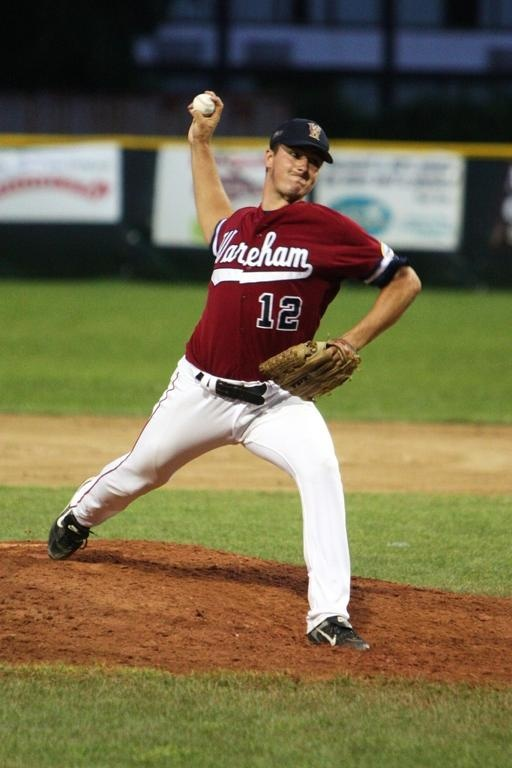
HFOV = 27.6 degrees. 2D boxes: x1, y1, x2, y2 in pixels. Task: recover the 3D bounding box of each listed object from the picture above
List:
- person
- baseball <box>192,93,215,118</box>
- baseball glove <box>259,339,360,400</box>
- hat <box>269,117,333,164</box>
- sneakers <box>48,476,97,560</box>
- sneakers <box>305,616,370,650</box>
[{"bbox_3d":[-0.044,0.081,3.621,1.167,1.417,0.403,6,7,32],"label":"person"},{"bbox_3d":[-0.201,-1.090,4.041,0.077,0.078,0.096,0,5,10],"label":"baseball"},{"bbox_3d":[0.176,-0.056,3.337,0.251,0.184,0.079,-36,29,7],"label":"baseball glove"},{"bbox_3d":[0.149,-0.849,3.607,0.150,0.099,0.191,7,5,-31],"label":"hat"},{"bbox_3d":[-0.762,0.568,4.341,0.123,0.357,0.147,43,-19,-30],"label":"sneakers"},{"bbox_3d":[0.250,0.791,3.337,0.231,0.093,0.081,-1,3,26],"label":"sneakers"}]
